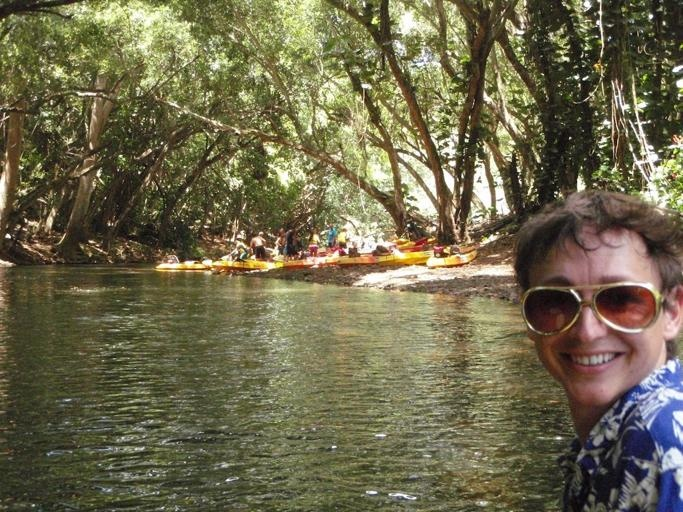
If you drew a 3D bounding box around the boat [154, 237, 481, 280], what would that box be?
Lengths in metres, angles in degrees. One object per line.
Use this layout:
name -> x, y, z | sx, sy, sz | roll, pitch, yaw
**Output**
boat -> -1.880, 0.146, 30.807 | 18.489, 1.555, 6.317 | 1, 2, 31
